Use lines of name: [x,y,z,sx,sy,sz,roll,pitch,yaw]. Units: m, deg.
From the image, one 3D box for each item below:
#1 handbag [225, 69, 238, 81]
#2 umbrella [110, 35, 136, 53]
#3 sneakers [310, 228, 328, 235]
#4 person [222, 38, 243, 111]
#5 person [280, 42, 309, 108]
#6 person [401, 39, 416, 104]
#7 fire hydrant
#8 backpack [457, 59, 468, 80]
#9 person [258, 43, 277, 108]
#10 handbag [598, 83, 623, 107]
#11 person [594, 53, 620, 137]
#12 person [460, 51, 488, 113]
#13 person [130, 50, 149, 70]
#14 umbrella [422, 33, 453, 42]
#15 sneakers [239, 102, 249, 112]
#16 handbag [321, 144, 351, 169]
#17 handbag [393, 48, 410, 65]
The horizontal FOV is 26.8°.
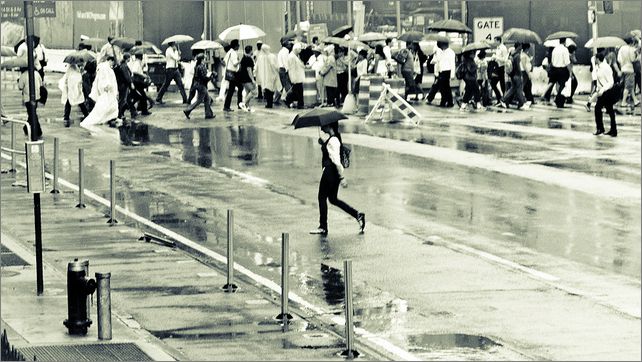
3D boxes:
handbag: [-3.394,-4.000,50.673,0.396,0.294,0.386,0,0,-31]
umbrella: [-7.362,-5.088,49.950,1.267,0.475,1.303,2,8,-4]
sneakers: [-0.055,1.334,35.528,0.439,0.196,0.176,4,3,6]
person: [-3.394,-4.062,51.025,0.723,2.810,1.526,-2,14,-4]
person: [-1.019,-4.035,52.275,0.784,2.379,1.541,-2,14,-3]
person: [3.456,-4.356,53.139,0.558,2.343,1.518,0,14,4]
fire hydrant: [-5.647,2.717,31.307,0.790,1.725,0.518,-5,14,-13]
backpack: [5.275,-4.187,50.402,0.322,0.798,0.583,-6,15,-19]
person: [-2.103,-4.122,52.625,0.824,2.486,1.477,-1,14,2]
handbag: [9.246,-2.770,43.041,0.734,0.696,0.618,0,4,2]
person: [9.166,-2.777,43.194,0.836,2.747,1.064,0,2,2]
person: [5.615,-3.874,50.622,0.799,2.292,1.463,0,14,6]
person: [-6.860,-4.540,50.860,0.636,0.582,1.952,17,-2,-3]
umbrella: [4.509,-5.608,52.730,0.948,0.294,0.777,9,18,33]
sneakers: [-2.913,-2.811,50.979,0.138,0.419,0.292,-53,18,-25]
handbag: [0.414,-0.724,35.794,0.722,0.720,0.523,-5,17,-12]
handbag: [3.214,-4.881,52.588,0.488,0.669,0.664,7,-5,-24]
